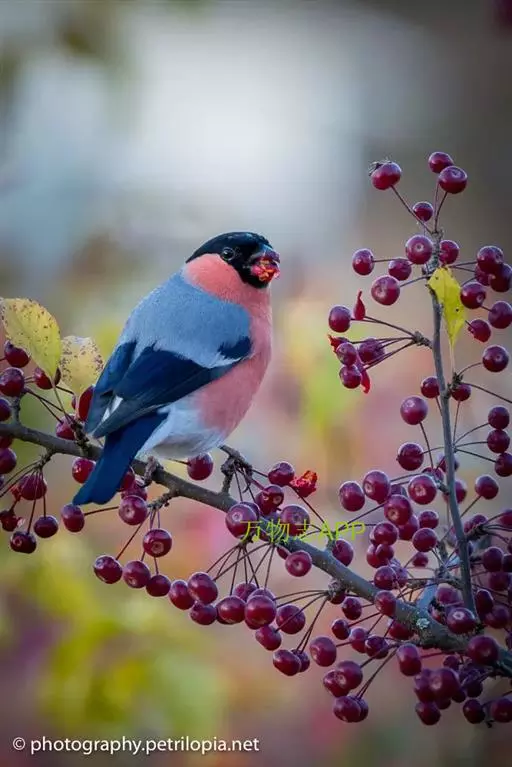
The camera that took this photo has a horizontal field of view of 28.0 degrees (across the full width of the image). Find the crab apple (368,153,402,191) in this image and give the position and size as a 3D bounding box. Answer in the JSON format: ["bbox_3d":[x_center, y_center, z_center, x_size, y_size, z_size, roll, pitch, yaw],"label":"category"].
[{"bbox_3d":[0.302,-0.501,2.462,0.094,0.111,0.093,0,2,3],"label":"crab apple"}]

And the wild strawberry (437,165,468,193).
[{"bbox_3d":[0.455,-0.475,2.395,0.062,0.062,0.098,9,16,7],"label":"wild strawberry"}]

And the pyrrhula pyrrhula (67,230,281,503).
[{"bbox_3d":[-0.262,-0.078,3.350,0.927,0.707,0.430,-17,6,-35],"label":"pyrrhula pyrrhula"}]
